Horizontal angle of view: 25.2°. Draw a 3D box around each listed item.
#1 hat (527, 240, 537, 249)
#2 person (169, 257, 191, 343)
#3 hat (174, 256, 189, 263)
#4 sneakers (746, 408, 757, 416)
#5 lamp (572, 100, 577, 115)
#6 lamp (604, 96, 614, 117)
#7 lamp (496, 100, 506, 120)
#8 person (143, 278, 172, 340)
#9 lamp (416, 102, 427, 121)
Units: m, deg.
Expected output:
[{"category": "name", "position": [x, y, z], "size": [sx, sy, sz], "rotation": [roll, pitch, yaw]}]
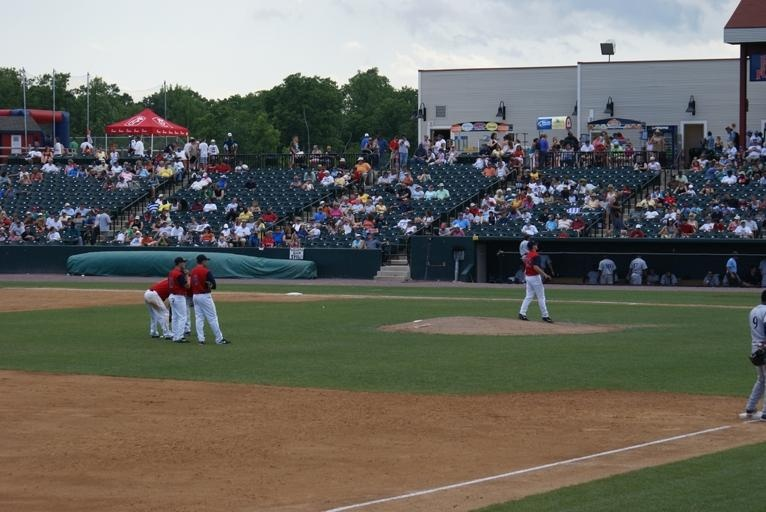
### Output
[{"category": "hat", "position": [5.680, -0.547, 65.938], "size": [0.268, 0.274, 0.337], "rotation": [20, -31, 27]}, {"category": "person", "position": [-7.500, 1.479, 62.821], "size": [0.732, 3.113, 0.726], "rotation": [-2, 11, -7]}, {"category": "hat", "position": [-8.045, 0.036, 68.398], "size": [0.466, 0.239, 0.286], "rotation": [-8, 19, -28]}, {"category": "sneakers", "position": [12.182, 5.034, 56.867], "size": [0.243, 0.256, 0.643], "rotation": [2, 5, 23]}, {"category": "lamp", "position": [10.281, -7.985, 92.296], "size": [0.266, 0.674, 0.547], "rotation": [-1, 11, 1]}, {"category": "lamp", "position": [11.975, -7.995, 91.130], "size": [0.473, 0.948, 0.619], "rotation": [0, 11, 6]}, {"category": "lamp", "position": [6.461, -8.027, 93.817], "size": [0.459, 0.995, 0.404], "rotation": [-4, 12, -17]}, {"category": "person", "position": [-8.318, 1.787, 63.436], "size": [0.834, 2.214, 1.101], "rotation": [-2, 11, -7]}, {"category": "lamp", "position": [2.133, -8.083, 95.558], "size": [0.553, 0.941, 0.484], "rotation": [4, 12, 24]}]
